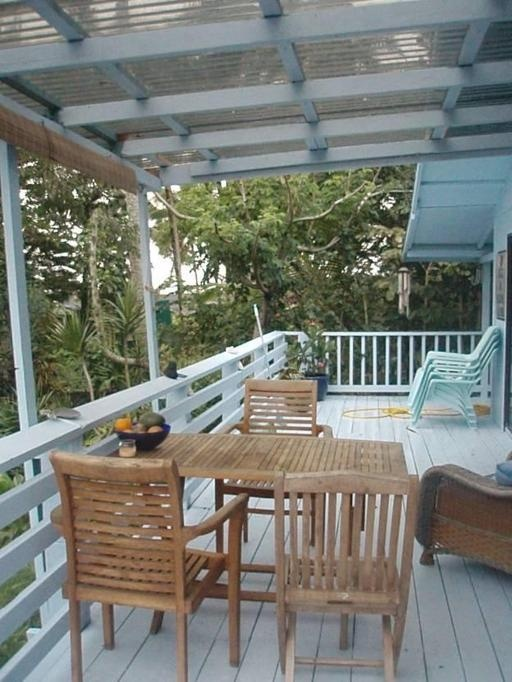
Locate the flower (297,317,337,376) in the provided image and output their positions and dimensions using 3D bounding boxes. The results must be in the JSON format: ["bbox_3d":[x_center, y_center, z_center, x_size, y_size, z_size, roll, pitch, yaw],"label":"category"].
[{"bbox_3d":[0.873,0.123,7.726,0.705,1.011,0.592,-2,3,5],"label":"flower"}]

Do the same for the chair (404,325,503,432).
[{"bbox_3d":[2.180,0.340,5.981,1.093,1.235,1.009,2,6,10],"label":"chair"}]

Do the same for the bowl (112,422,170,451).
[{"bbox_3d":[-0.455,0.408,2.191,0.200,0.107,0.103,2,-1,-44],"label":"bowl"}]

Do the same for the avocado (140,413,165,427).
[{"bbox_3d":[-0.438,0.328,2.244,0.081,0.061,0.057,-3,-22,2],"label":"avocado"}]

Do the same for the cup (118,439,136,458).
[{"bbox_3d":[-0.501,0.414,2.079,0.082,0.066,0.079,1,4,0],"label":"cup"}]

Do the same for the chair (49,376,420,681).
[{"bbox_3d":[0.119,0.677,2.424,1.072,1.105,1.500,1,-1,15],"label":"chair"}]
